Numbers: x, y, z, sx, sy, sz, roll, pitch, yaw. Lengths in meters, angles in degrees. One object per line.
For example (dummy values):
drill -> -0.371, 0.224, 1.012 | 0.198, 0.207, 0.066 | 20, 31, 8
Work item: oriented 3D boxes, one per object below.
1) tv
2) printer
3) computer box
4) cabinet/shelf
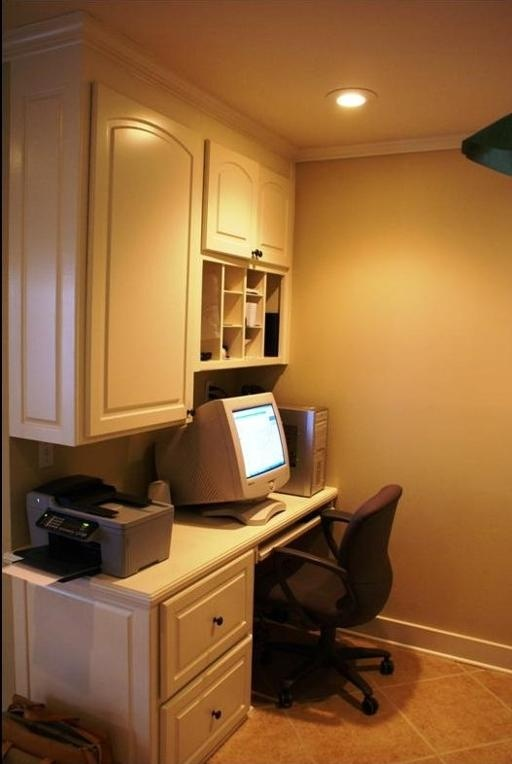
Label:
tv -> -0.088, 0.256, 2.633 | 0.470, 0.470, 0.502 | 2, 4, 22
printer -> -0.522, 0.445, 1.933 | 0.388, 0.223, 0.390 | 6, 8, 29
computer box -> 0.209, 0.300, 3.045 | 0.257, 0.408, 0.263 | 10, 12, 43
cabinet/shelf -> -0.340, 0.087, 2.263 | 0.732, 2.281, 1.282 | 5, 7, 23
